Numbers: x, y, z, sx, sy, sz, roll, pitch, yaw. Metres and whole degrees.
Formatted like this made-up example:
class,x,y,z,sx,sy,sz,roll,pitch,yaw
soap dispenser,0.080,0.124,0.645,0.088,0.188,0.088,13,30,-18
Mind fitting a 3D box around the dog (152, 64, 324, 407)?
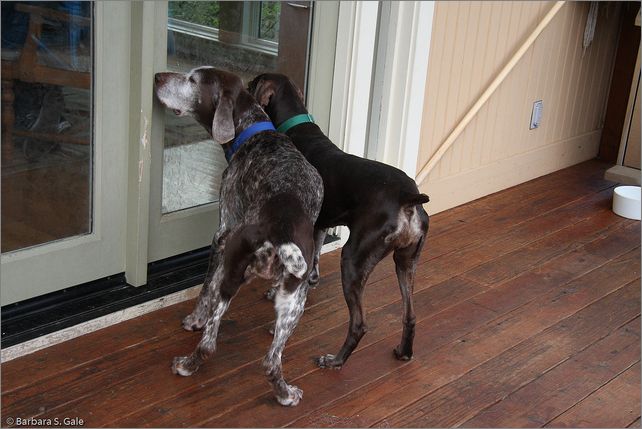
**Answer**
class,x,y,z,sx,sy,sz,roll,pitch,yaw
dog,-0.396,0.066,2.579,0.822,1.364,1.278,-8,33,-16
